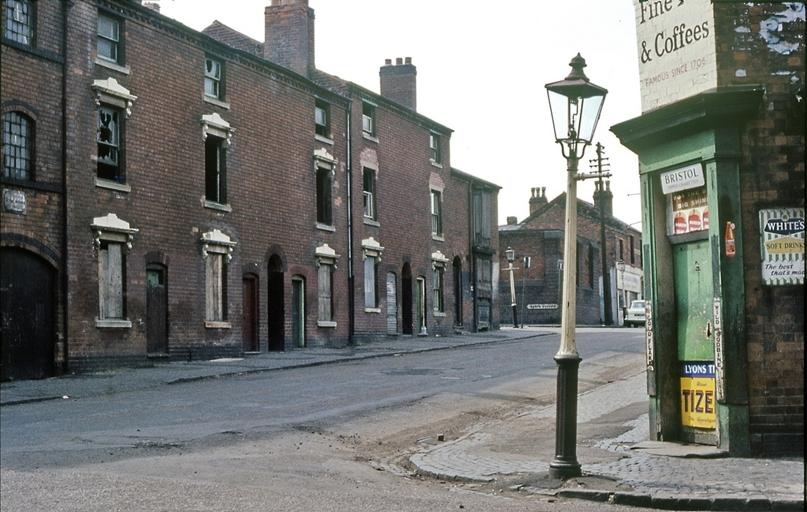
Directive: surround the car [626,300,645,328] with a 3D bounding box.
[{"bbox_3d":[12.666,3.103,55.305,1.019,1.541,2.108,-4,-8,9],"label":"car"}]
